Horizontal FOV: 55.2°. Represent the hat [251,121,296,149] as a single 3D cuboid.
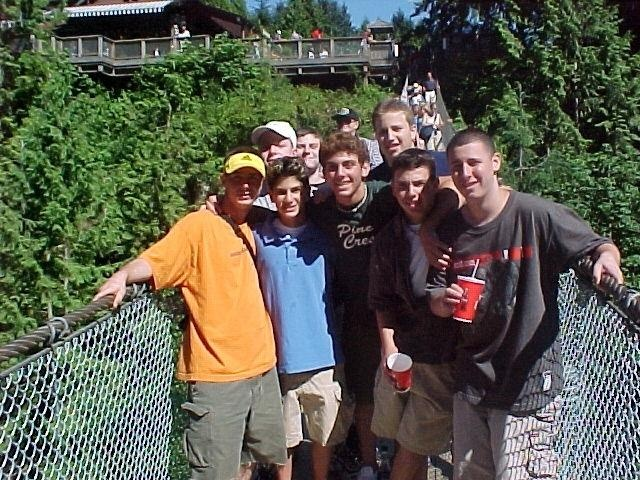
[{"bbox_3d":[-0.390,-1.041,5.972,0.256,0.203,0.364,-4,-33,14],"label":"hat"}]
